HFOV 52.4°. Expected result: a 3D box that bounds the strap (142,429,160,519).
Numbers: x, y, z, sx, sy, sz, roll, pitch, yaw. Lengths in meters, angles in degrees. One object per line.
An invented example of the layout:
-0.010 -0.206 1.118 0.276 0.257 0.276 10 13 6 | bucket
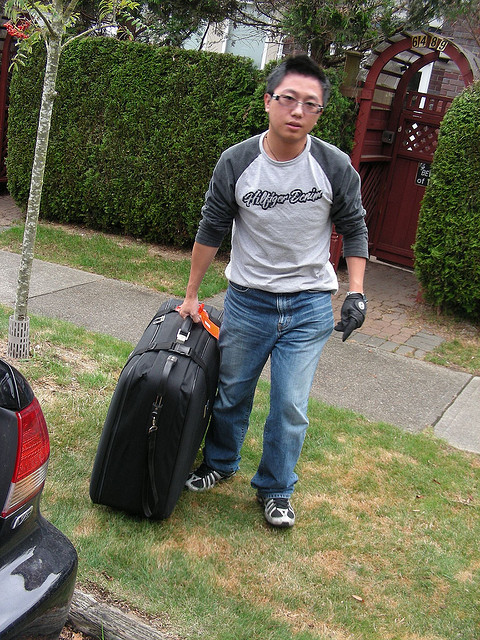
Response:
-0.372 0.637 2.020 0.085 0.328 0.044 -14 -20 35 | strap

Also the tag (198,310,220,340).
-0.151 0.028 2.391 0.093 0.038 0.129 46 -1 34 | tag

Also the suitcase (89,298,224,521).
-0.388 0.456 2.299 0.330 0.650 0.918 21 20 -3 | suitcase

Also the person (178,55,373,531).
0.125 -0.049 2.242 0.856 2.098 0.439 13 11 13 | person
